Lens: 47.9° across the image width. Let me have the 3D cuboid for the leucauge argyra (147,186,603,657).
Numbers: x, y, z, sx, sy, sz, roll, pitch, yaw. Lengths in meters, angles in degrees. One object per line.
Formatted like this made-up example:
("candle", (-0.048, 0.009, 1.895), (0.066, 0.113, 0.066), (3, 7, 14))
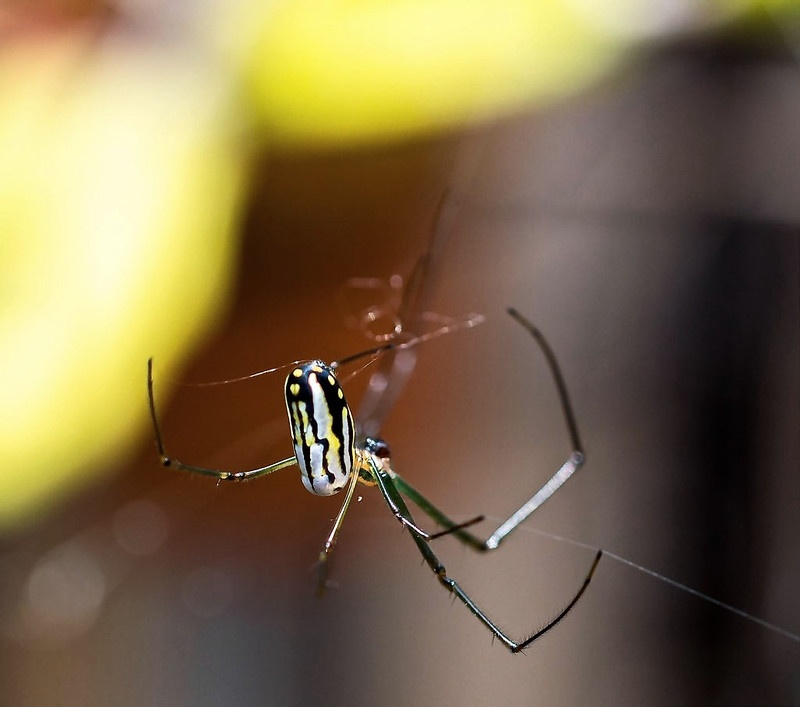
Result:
("leucauge argyra", (-0.017, 0.113, 0.829), (0.400, 0.132, 0.398), (-19, 78, -10))
